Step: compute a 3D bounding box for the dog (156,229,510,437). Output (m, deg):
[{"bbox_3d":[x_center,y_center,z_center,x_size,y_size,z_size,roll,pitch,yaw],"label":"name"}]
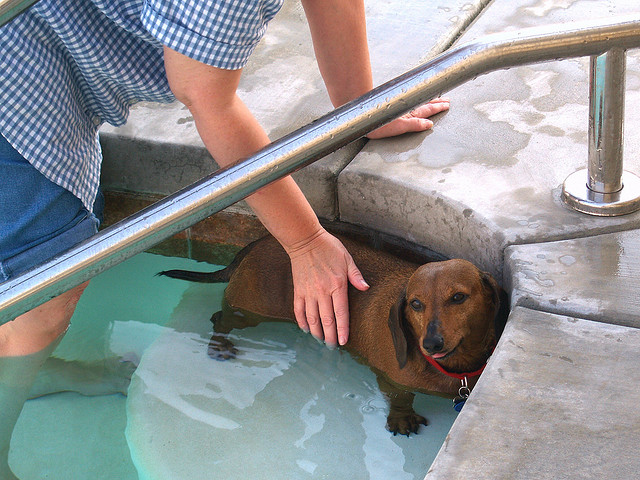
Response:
[{"bbox_3d":[0.222,0.283,2.566,1.469,0.505,0.514,17,49,22],"label":"dog"}]
